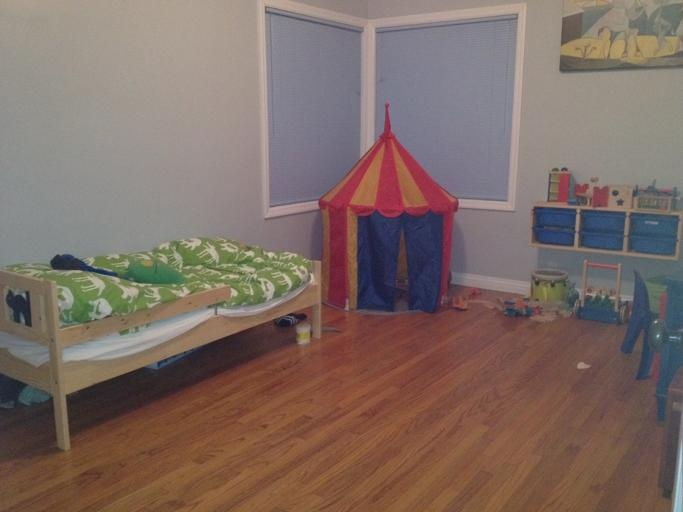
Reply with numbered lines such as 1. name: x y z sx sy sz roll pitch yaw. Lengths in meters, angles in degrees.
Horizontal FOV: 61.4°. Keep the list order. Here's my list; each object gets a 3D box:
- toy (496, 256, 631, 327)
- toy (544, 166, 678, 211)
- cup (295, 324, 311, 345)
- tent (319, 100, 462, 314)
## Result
1. toy: 1.747 0.239 4.519 0.950 0.455 0.503 2 13 17
2. toy: 2.120 -0.534 4.501 0.950 0.297 0.283 5 14 29
3. cup: -0.268 0.533 4.024 0.120 0.137 0.121 0 11 0
4. tent: 0.336 -0.383 4.991 1.192 1.690 1.251 -1 16 -4
